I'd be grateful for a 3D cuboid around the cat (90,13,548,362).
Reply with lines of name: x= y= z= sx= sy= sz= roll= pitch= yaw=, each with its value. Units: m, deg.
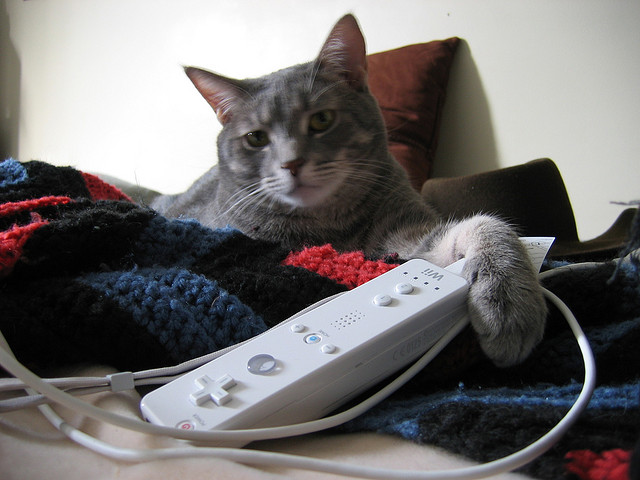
cat: x=-0.005 y=-0.148 z=1.401 sx=0.739 sy=0.459 sz=1.196 roll=-5 pitch=12 yaw=-17
